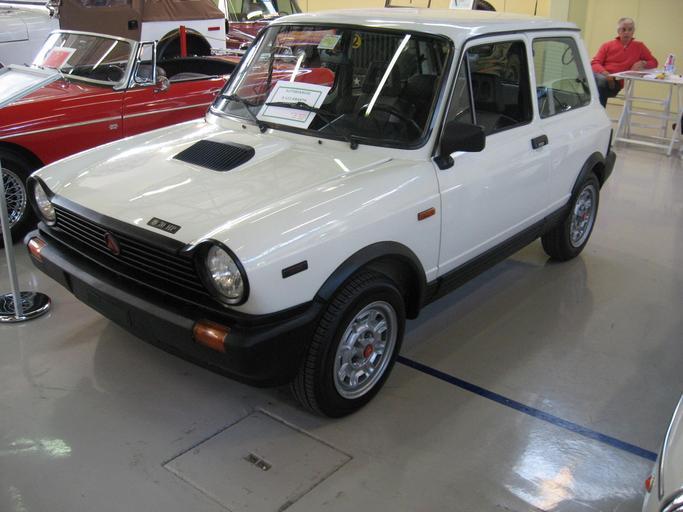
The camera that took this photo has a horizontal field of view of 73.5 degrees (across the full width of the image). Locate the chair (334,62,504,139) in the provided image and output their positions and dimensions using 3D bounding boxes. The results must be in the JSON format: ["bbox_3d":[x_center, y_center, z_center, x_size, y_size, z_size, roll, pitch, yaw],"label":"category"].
[{"bbox_3d":[0.321,-0.902,2.750,0.557,0.258,0.600,19,35,33],"label":"chair"}]

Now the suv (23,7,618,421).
[{"bbox_3d":[0.265,-0.473,3.413,3.817,1.643,2.291,-18,29,-41],"label":"suv"}]

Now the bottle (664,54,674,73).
[{"bbox_3d":[5.767,-3.401,8.047,0.127,0.281,0.364,14,29,32],"label":"bottle"}]
